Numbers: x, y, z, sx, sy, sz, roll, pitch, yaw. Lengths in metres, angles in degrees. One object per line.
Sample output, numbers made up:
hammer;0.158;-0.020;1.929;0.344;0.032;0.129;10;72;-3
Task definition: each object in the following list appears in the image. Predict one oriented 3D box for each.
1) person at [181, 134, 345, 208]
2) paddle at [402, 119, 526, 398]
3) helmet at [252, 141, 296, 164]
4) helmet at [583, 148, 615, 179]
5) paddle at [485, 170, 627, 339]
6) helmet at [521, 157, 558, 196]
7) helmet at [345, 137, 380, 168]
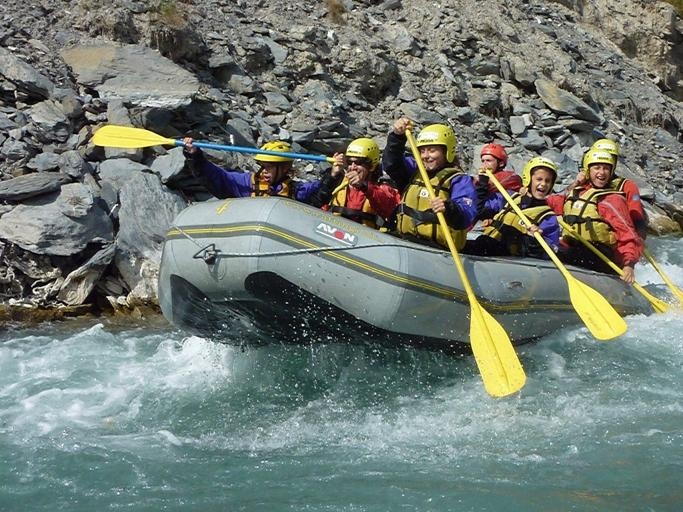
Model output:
person;-0.837;-0.808;7.773;1.989;0.689;0.488;-4;-7;-36
paddle;1.057;-0.087;6.864;0.497;2.976;0.252;-18;-25;-4
helmet;-0.686;-1.104;7.615;0.357;0.153;0.251;-1;5;-45
helmet;3.169;-1.184;8.777;0.285;0.241;0.344;2;6;-1
paddle;1.890;-0.277;7.816;0.486;0.152;3.175;-29;54;-12
helmet;2.296;-0.944;8.290;0.420;0.394;0.498;7;-3;-14
helmet;0.249;-1.059;7.366;0.409;0.301;0.240;-6;21;-22
